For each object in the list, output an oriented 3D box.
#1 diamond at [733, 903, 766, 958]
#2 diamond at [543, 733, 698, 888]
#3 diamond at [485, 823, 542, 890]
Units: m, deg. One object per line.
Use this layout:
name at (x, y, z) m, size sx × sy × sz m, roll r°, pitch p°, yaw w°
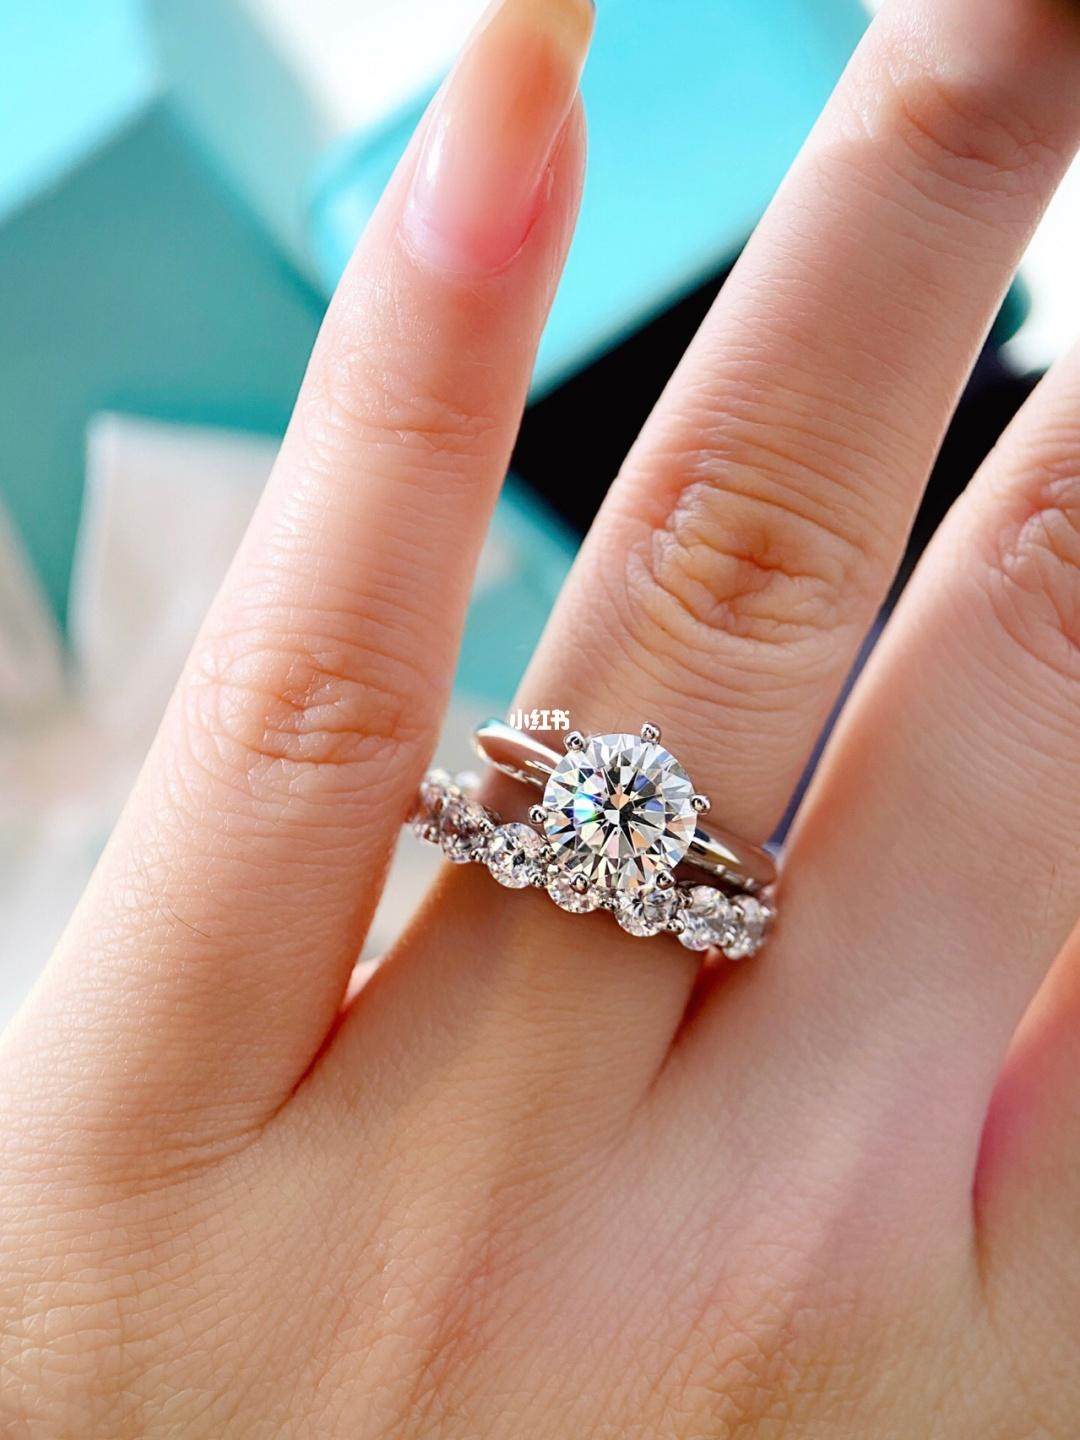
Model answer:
diamond at (0.174, 0.169, 1.177) m, size 0.015 × 0.042 × 0.038 m, roll 15°, pitch 3°, yaw 34°
diamond at (0.064, 0.071, 1.122) m, size 0.116 × 0.084 × 0.097 m, roll 3°, pitch 49°, yaw -15°
diamond at (-0.020, 0.108, 1.138) m, size 0.046 × 0.033 × 0.045 m, roll 11°, pitch 48°, yaw -8°
